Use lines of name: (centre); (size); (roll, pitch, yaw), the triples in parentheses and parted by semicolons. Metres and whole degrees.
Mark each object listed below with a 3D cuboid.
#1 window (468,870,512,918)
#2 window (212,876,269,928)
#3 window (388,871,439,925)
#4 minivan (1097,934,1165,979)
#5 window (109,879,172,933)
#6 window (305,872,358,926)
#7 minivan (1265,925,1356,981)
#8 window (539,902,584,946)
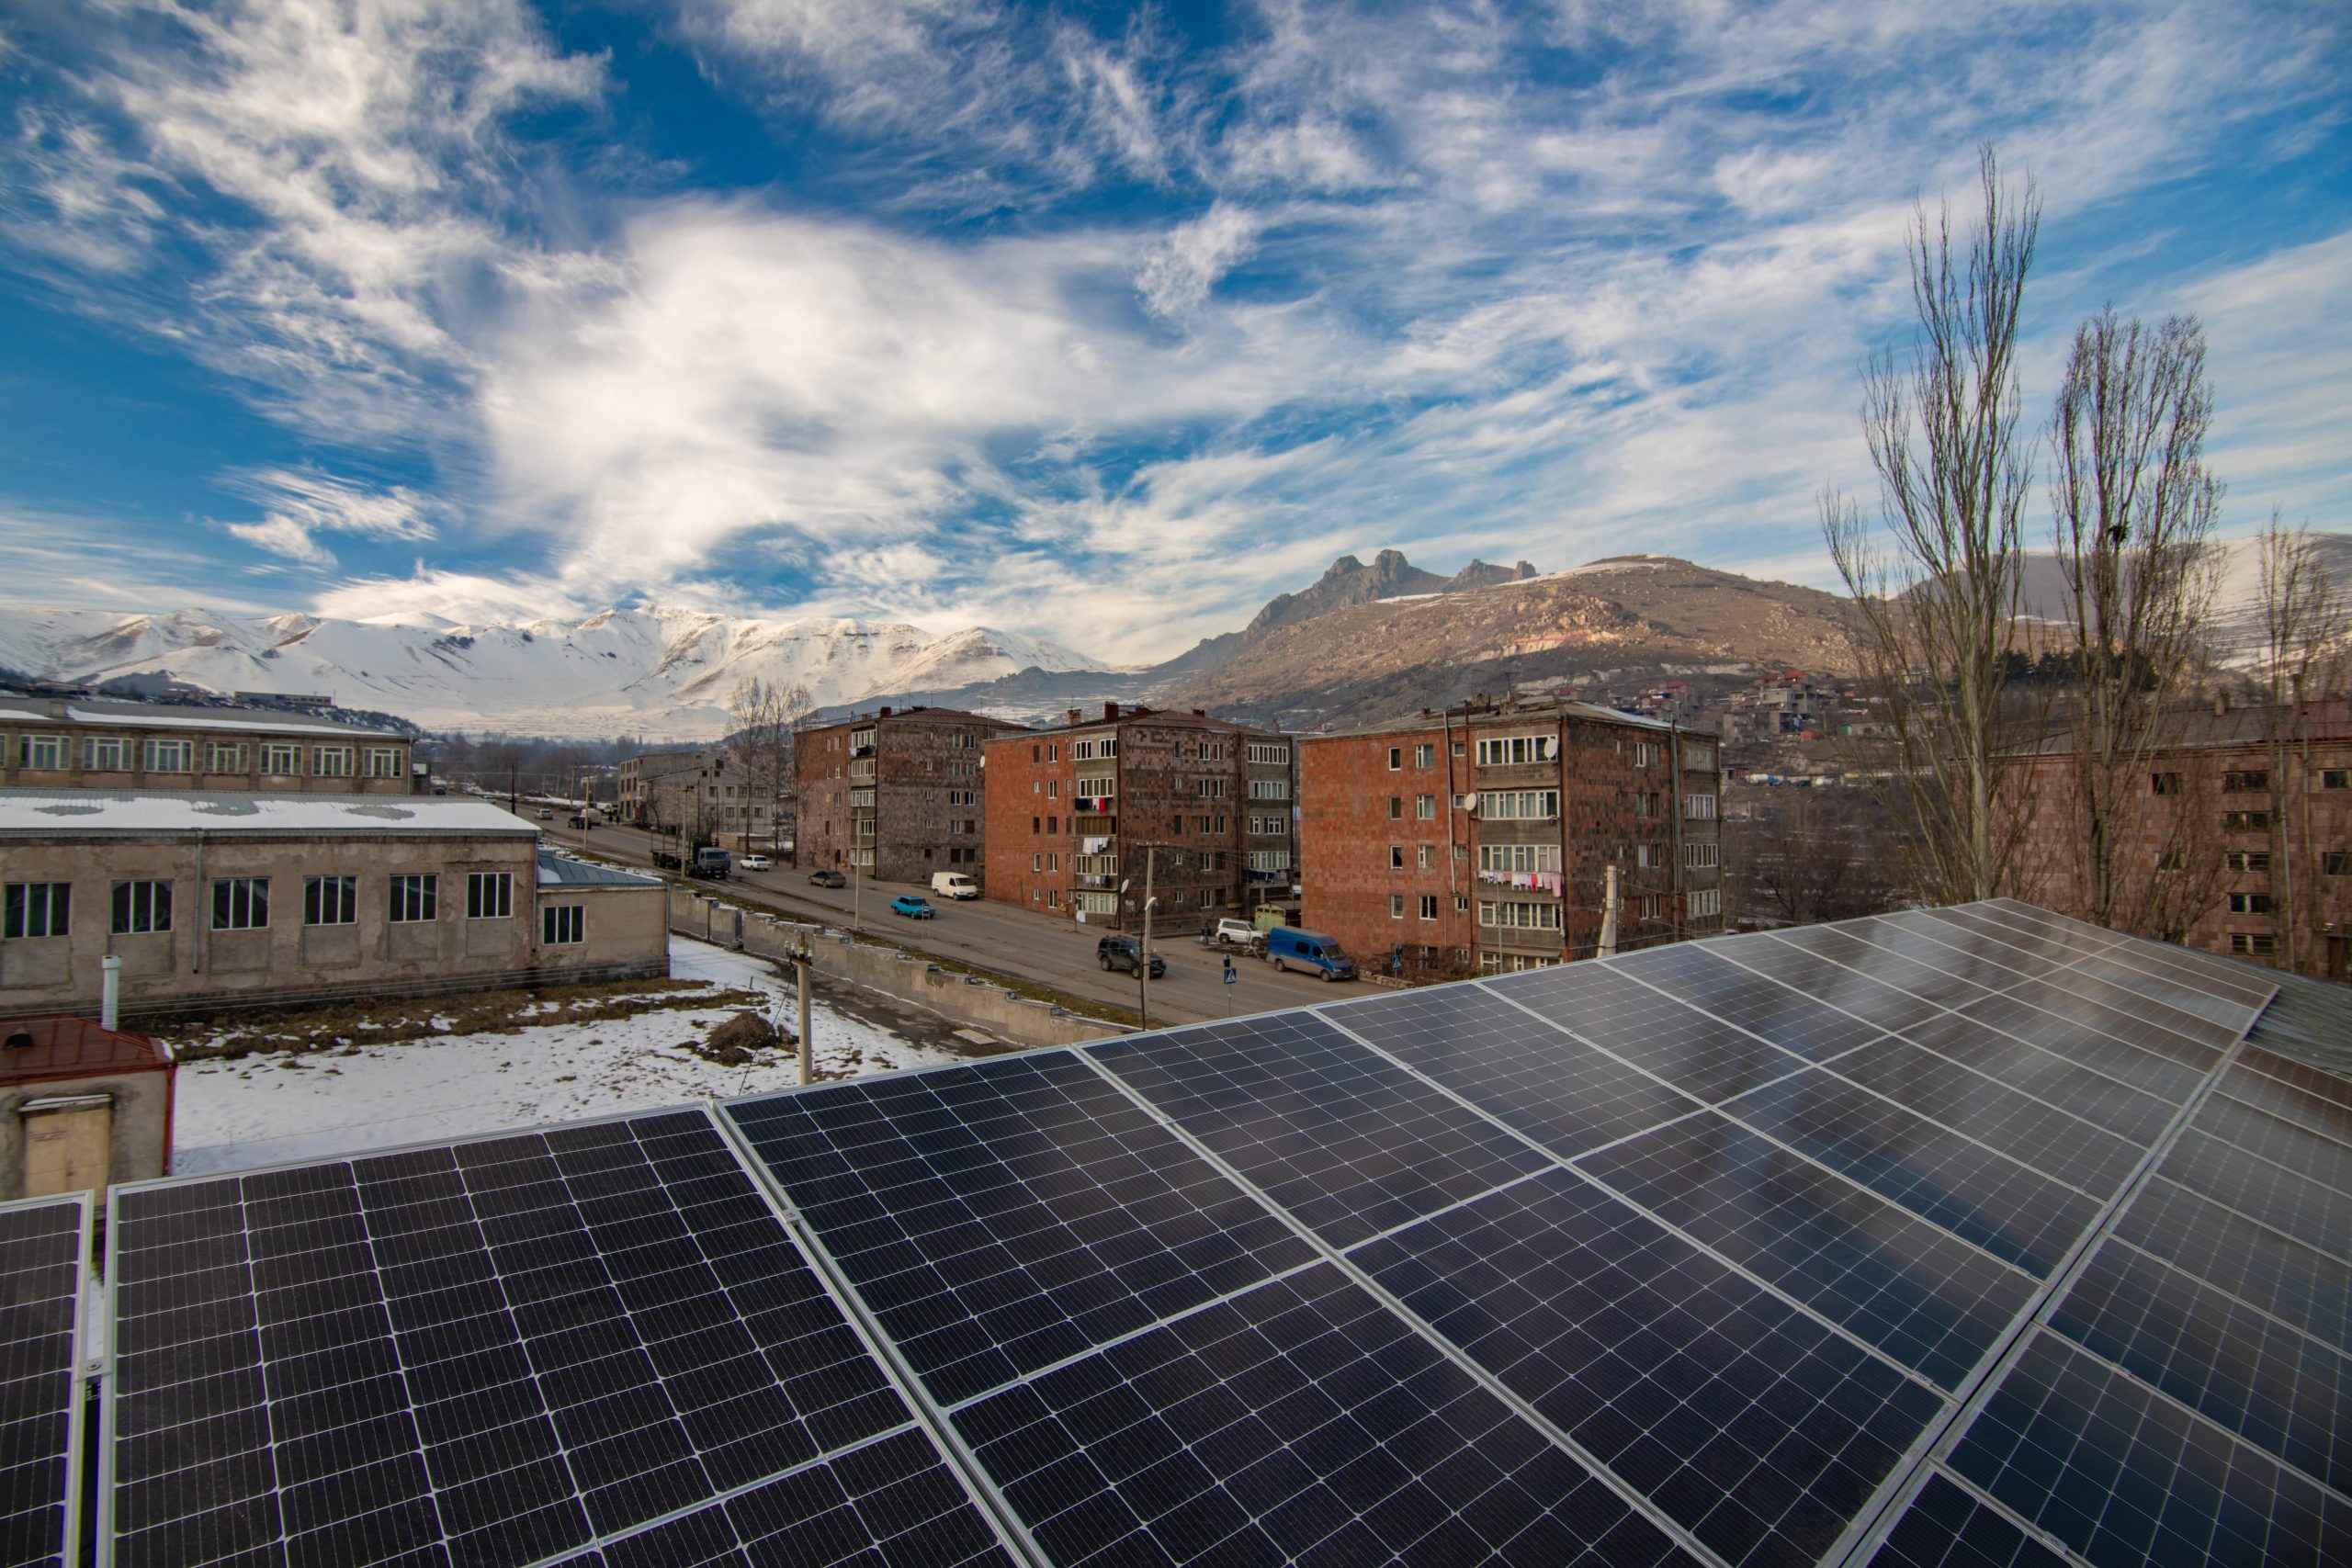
window: (-23.080, 3.628, 45.269); (0.144, 1.537, 1.669); (-1, -8, 38)
window: (-28.432, 3.564, 40.918); (0.149, 1.693, 1.678); (-1, -5, 25)
window: (-24.772, 3.672, 43.719); (2.032, 1.850, 0.163); (1, -7, -42)
minivan: (-2.471, 8.198, 64.602); (3.797, 1.547, 1.928); (0, 0, 42)
window: (-30.328, 3.523, 39.456); (1.943, 1.659, 0.181); (0, -1, -24)
window: (-26.518, 3.568, 42.290); (0.165, 1.828, 1.912); (2, 3, 41)
minivan: (6.458, 8.433, 67.112); (4.245, 1.675, 2.060); (-5, -2, 43)
window: (-21.535, 4.861, 47.130); (1.889, 1.473, 0.182); (1, 0, -25)
